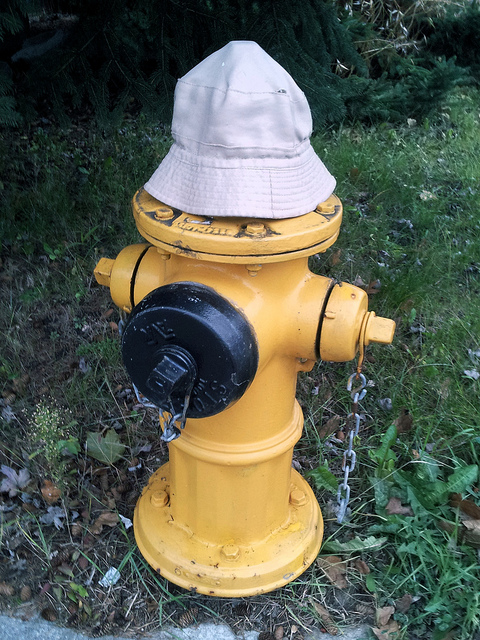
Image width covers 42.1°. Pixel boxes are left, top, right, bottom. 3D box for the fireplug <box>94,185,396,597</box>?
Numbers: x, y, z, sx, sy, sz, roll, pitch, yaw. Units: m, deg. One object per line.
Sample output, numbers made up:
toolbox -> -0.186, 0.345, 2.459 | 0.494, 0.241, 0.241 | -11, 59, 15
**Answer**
fireplug -> -0.013, 0.266, 2.046 | 0.802, 1.321, 0.571 | -11, 31, -13
